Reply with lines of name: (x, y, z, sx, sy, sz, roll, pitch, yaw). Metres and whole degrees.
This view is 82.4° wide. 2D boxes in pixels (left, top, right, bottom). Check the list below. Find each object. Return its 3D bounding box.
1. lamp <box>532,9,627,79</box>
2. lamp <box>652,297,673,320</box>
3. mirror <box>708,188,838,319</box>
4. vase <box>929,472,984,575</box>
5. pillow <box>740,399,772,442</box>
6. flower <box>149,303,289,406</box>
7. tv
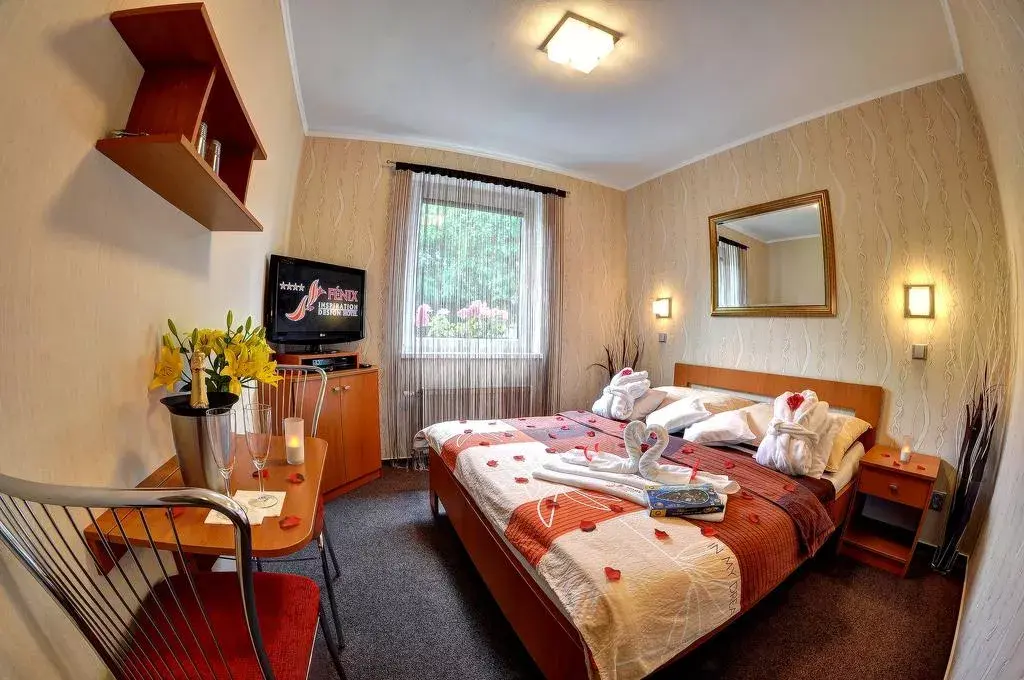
lamp: (0.444, -1.932, 3.847, 0.498, 0.214, 0.342, 1, 2, -19)
lamp: (1.415, -0.307, 5.517, 0.047, 0.189, 0.170, 1, 5, -34)
mirror: (2.097, -0.683, 4.603, 0.081, 1.137, 1.076, -2, 1, -37)
vase: (2.810, 1.167, 3.715, 0.314, 0.364, 0.177, 1, 2, -14)
pillow: (1.696, 0.552, 4.059, 0.236, 0.068, 0.245, 14, 39, 17)
flower: (-1.532, 0.061, 2.974, 0.543, 0.418, 0.593, 1, 2, -32)
tv: (-1.526, -0.273, 4.442, 0.173, 0.691, 0.772, 7, 4, 39)
